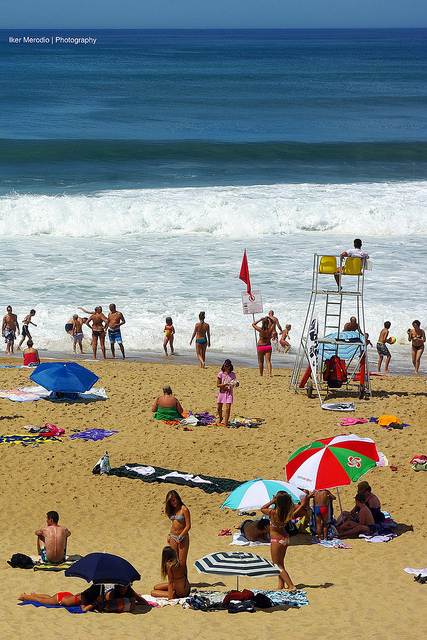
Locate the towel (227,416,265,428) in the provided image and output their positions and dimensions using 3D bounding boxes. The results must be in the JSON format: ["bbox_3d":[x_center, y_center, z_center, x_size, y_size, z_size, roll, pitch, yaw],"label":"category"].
[{"bbox_3d":[0.511,1.564,14.775,0.632,0.096,0.457,2,3,-12],"label":"towel"}]

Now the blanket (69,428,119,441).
[{"bbox_3d":[-1.760,1.670,14.064,0.462,0.092,0.672,4,3,39],"label":"blanket"}]

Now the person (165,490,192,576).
[{"bbox_3d":[-0.357,2.128,9.579,0.251,0.846,0.309,2,3,-3],"label":"person"}]

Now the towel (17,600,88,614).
[{"bbox_3d":[-1.514,2.762,9.304,0.418,0.078,0.239,5,-6,5],"label":"towel"}]

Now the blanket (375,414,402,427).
[{"bbox_3d":[2.697,1.516,14.527,0.409,0.139,0.341,2,3,-4],"label":"blanket"}]

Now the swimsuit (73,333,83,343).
[{"bbox_3d":[-2.819,0.371,20.111,0.189,0.272,0.146,1,8,-17],"label":"swimsuit"}]

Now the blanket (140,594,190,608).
[{"bbox_3d":[-0.468,2.779,9.576,0.472,0.070,0.230,3,3,6],"label":"blanket"}]

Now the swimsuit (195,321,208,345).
[{"bbox_3d":[-0.217,0.296,18.918,0.270,0.386,0.155,-3,0,-16],"label":"swimsuit"}]

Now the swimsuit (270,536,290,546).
[{"bbox_3d":[0.694,2.231,9.786,0.189,0.105,0.112,2,3,-10],"label":"swimsuit"}]

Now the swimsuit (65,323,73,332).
[{"bbox_3d":[-2.999,0.157,20.076,0.125,0.138,0.184,-8,16,-22],"label":"swimsuit"}]

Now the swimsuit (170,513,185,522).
[{"bbox_3d":[-0.352,1.950,9.533,0.164,0.078,0.051,3,3,16],"label":"swimsuit"}]

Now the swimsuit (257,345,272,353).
[{"bbox_3d":[0.970,0.543,18.143,0.239,0.148,0.198,2,3,3],"label":"swimsuit"}]

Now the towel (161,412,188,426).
[{"bbox_3d":[-0.549,1.517,14.754,0.292,0.103,0.676,3,3,24],"label":"towel"}]

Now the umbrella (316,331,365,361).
[{"bbox_3d":[2.176,0.437,16.255,0.758,0.449,1.170,2,3,7],"label":"umbrella"}]

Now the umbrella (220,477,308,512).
[{"bbox_3d":[0.600,1.951,10.723,0.574,0.216,0.596,-11,-5,6],"label":"umbrella"}]

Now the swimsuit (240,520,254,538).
[{"bbox_3d":[0.382,2.428,11.251,0.122,0.170,0.071,-1,-2,5],"label":"swimsuit"}]

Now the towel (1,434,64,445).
[{"bbox_3d":[-2.599,1.708,13.783,0.877,0.020,0.304,2,15,10],"label":"towel"}]

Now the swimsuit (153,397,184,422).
[{"bbox_3d":[-0.661,1.249,14.645,0.478,0.481,0.285,3,14,2],"label":"swimsuit"}]

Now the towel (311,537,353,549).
[{"bbox_3d":[1.361,2.523,10.938,0.469,0.054,0.271,3,3,8],"label":"towel"}]

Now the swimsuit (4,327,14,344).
[{"bbox_3d":[-4.218,0.335,19.906,0.187,0.340,0.383,1,3,-10],"label":"swimsuit"}]

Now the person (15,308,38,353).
[{"bbox_3d":[-4.001,0.267,20.636,0.475,0.974,0.327,2,42,-19],"label":"person"}]

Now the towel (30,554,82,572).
[{"bbox_3d":[-1.648,2.532,10.042,0.299,0.056,0.323,1,11,-4],"label":"towel"}]

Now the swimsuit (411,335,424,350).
[{"bbox_3d":[3.993,0.436,18.737,0.222,0.292,0.156,3,3,12],"label":"swimsuit"}]

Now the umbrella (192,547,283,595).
[{"bbox_3d":[0.260,2.455,9.437,0.588,0.403,0.612,0,8,3],"label":"umbrella"}]

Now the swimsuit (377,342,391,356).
[{"bbox_3d":[3.331,0.559,18.719,0.225,0.250,0.402,3,3,10],"label":"swimsuit"}]

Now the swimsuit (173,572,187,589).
[{"bbox_3d":[-0.330,2.584,9.602,0.173,0.055,0.174,-3,18,-7],"label":"swimsuit"}]

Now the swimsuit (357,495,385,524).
[{"bbox_3d":[1.867,2.269,11.248,0.241,0.477,0.354,-7,5,8],"label":"swimsuit"}]

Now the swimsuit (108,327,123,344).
[{"bbox_3d":[-2.026,0.322,19.938,0.236,0.307,0.169,11,47,11],"label":"swimsuit"}]

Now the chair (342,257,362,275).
[{"bbox_3d":[2.253,-0.877,15.536,0.253,0.356,0.284,4,15,7],"label":"chair"}]

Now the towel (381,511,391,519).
[{"bbox_3d":[2.067,2.310,11.451,0.103,0.044,0.142,2,5,3],"label":"towel"}]

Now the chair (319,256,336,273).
[{"bbox_3d":[1.850,-0.873,15.481,0.253,0.271,0.248,3,13,0],"label":"chair"}]

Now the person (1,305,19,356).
[{"bbox_3d":[-4.203,0.229,19.859,0.283,1.027,1.022,1,3,-12],"label":"person"}]

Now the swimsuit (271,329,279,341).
[{"bbox_3d":[1.201,0.280,18.641,0.127,0.271,0.165,0,-6,3],"label":"swimsuit"}]

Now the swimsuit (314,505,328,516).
[{"bbox_3d":[1.243,2.168,10.986,0.146,0.121,0.104,-2,-7,-4],"label":"swimsuit"}]

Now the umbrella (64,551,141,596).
[{"bbox_3d":[-1.047,2.383,9.098,0.698,0.320,0.396,2,3,-4],"label":"umbrella"}]

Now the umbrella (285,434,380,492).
[{"bbox_3d":[1.395,1.661,11.167,1.072,0.533,0.923,2,3,-6],"label":"umbrella"}]

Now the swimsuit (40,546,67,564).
[{"bbox_3d":[-1.747,2.511,10.290,0.164,0.103,0.229,1,-6,-1],"label":"swimsuit"}]

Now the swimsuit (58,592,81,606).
[{"bbox_3d":[-1.405,2.696,9.387,0.158,0.047,0.110,17,9,7],"label":"swimsuit"}]

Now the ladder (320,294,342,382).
[{"bbox_3d":[2.868,-0.127,23.084,0.696,2.199,0.489,-5,7,-15],"label":"ladder"}]

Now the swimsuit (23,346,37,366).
[{"bbox_3d":[-3.455,0.687,18.181,0.263,0.356,0.180,1,-12,-5],"label":"swimsuit"}]

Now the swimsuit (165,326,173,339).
[{"bbox_3d":[-0.903,0.268,19.777,0.160,0.249,0.190,5,13,18],"label":"swimsuit"}]

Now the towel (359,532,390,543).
[{"bbox_3d":[1.860,2.476,10.997,0.319,0.067,0.191,2,3,-7],"label":"towel"}]
